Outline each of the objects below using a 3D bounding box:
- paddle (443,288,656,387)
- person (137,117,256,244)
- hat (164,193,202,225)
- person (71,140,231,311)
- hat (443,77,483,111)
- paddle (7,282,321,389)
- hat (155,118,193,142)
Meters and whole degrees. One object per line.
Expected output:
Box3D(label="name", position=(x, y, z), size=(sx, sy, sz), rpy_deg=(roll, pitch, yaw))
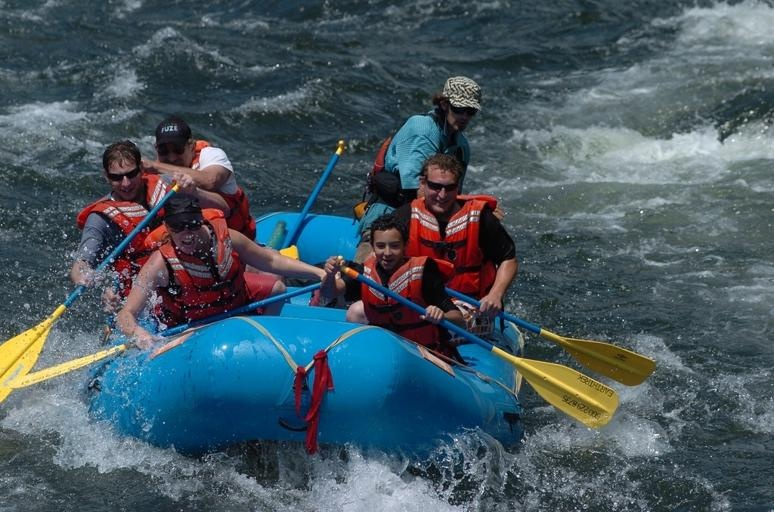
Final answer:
Box3D(label="paddle", position=(1.844, 0.977, 12.010), size=(2.500, 0.491, 0.134), rpy_deg=(23, -6, 7))
Box3D(label="person", position=(-2.409, -1.063, 12.644), size=(1.344, 0.736, 1.803), rpy_deg=(-8, 10, -17))
Box3D(label="hat", position=(-2.192, -0.514, 11.048), size=(0.462, 0.349, 0.654), rpy_deg=(0, 5, -17))
Box3D(label="person", position=(-2.529, -0.526, 11.689), size=(0.620, 1.115, 1.702), rpy_deg=(9, 30, -38))
Box3D(label="hat", position=(0.845, -1.950, 12.327), size=(0.349, 0.227, 0.464), rpy_deg=(18, 12, -21))
Box3D(label="paddle", position=(-2.292, 0.877, 11.146), size=(2.755, 0.331, 0.134), rpy_deg=(-18, 69, -2))
Box3D(label="hat", position=(-2.462, -1.450, 12.045), size=(0.381, 0.266, 0.297), rpy_deg=(3, 28, -9))
